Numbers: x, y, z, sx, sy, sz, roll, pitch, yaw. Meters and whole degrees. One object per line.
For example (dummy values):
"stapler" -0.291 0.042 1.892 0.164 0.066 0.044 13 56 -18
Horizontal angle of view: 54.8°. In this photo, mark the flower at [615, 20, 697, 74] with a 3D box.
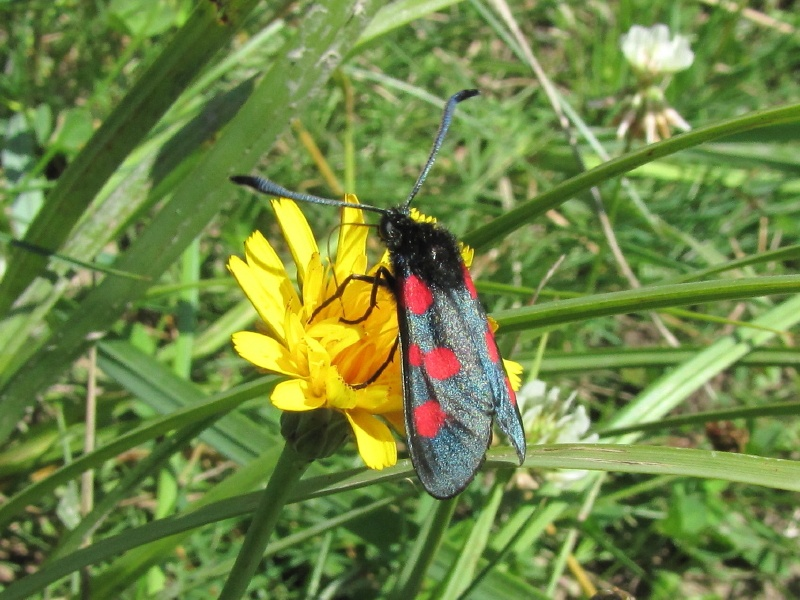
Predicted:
"flower" 0.889 -0.858 2.746 0.192 0.201 0.196 -29 21 -8

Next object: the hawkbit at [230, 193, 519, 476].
"hawkbit" -0.185 0.088 2.148 0.604 0.708 0.960 7 14 17

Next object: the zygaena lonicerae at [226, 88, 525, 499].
"zygaena lonicerae" 0.139 -0.067 2.180 0.723 0.929 1.032 9 18 18
